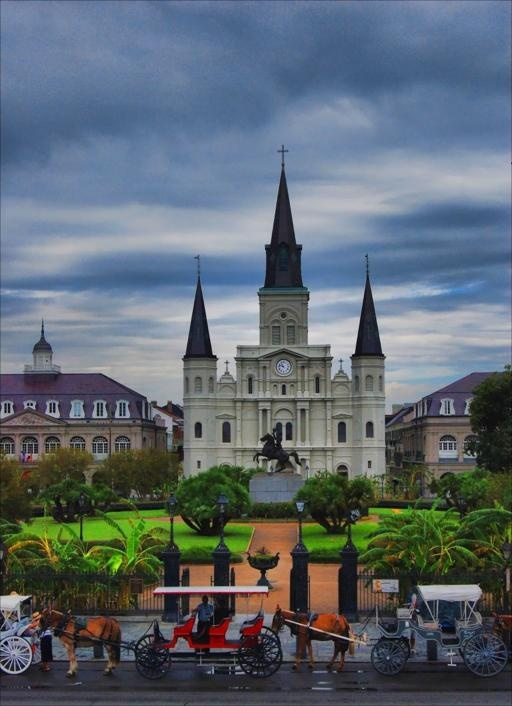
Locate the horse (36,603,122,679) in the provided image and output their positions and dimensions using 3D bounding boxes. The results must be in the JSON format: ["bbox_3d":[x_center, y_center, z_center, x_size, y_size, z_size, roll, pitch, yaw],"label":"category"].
[{"bbox_3d":[-4.628,7.705,48.316,2.143,1.974,0.780,-2,6,-5],"label":"horse"}]

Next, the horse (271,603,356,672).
[{"bbox_3d":[1.557,7.679,48.504,2.229,1.695,0.656,0,-4,-2],"label":"horse"}]

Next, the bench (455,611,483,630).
[{"bbox_3d":[5.645,7.178,48.185,0.444,0.365,0.499,2,-6,0],"label":"bench"}]

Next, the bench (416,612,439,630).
[{"bbox_3d":[4.568,7.224,48.282,0.452,0.526,0.311,0,-4,4],"label":"bench"}]

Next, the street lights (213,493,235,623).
[{"bbox_3d":[-0.909,5.900,52.493,0.704,3.486,0.740,-5,-4,-5],"label":"street lights"}]
